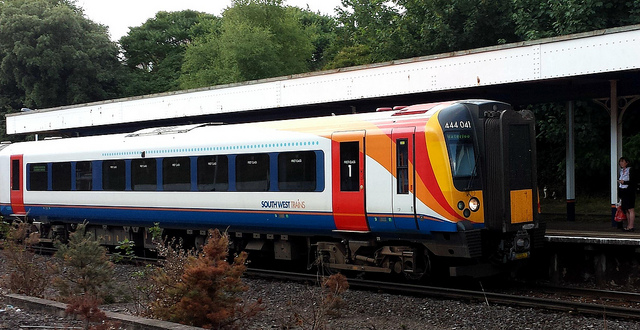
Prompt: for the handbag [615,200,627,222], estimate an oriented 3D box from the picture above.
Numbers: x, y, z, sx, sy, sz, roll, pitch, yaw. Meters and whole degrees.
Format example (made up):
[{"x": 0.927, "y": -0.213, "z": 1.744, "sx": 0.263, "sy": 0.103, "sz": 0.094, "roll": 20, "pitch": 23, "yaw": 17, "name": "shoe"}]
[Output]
[{"x": 11.867, "y": 1.827, "z": 22.949, "sx": 0.386, "sy": 0.941, "sz": 0.528, "roll": -4, "pitch": -1, "yaw": 25, "name": "handbag"}]
